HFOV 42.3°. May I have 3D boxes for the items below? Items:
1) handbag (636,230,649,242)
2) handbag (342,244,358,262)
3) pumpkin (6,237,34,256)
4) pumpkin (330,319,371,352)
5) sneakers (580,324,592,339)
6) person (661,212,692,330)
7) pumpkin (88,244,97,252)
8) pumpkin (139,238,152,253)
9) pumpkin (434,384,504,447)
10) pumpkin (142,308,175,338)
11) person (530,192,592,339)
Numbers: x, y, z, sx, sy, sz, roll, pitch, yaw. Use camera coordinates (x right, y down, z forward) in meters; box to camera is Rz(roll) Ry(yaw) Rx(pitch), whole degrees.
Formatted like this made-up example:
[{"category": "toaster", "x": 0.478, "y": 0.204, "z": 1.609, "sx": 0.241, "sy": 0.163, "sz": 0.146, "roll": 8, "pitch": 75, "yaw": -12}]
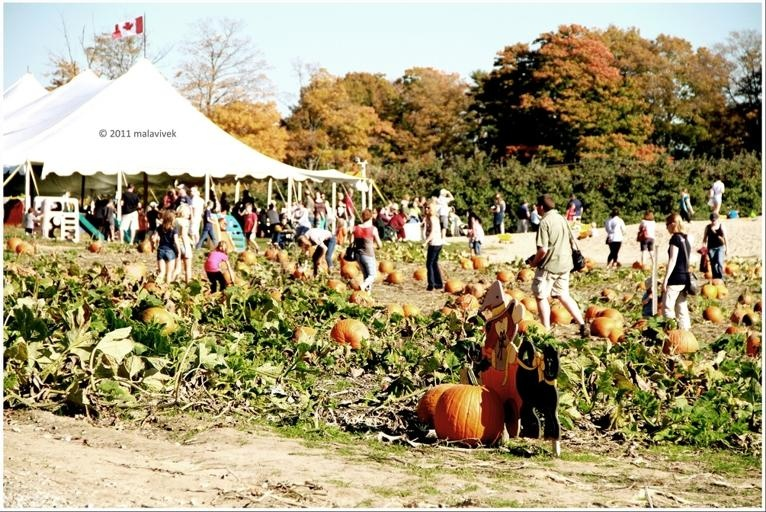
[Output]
[{"category": "handbag", "x": 6.022, "y": -0.487, "z": 23.034, "sx": 0.140, "sy": 0.292, "sz": 0.327, "roll": 2, "pitch": -5, "yaw": -17}, {"category": "handbag", "x": -0.619, "y": -0.085, "z": 18.688, "sx": 0.231, "sy": 0.339, "sz": 0.632, "roll": 1, "pitch": -5, "yaw": -5}, {"category": "pumpkin", "x": -7.923, "y": -0.188, "z": 21.585, "sx": 0.440, "sy": 0.239, "sz": 0.460, "roll": 21, "pitch": 11, "yaw": -31}, {"category": "pumpkin", "x": -0.506, "y": 1.148, "z": 14.604, "sx": 0.407, "sy": 0.440, "sz": 0.445, "roll": 23, "pitch": 24, "yaw": -47}, {"category": "sneakers", "x": 3.105, "y": 1.140, "z": 15.213, "sx": 0.129, "sy": 0.207, "sz": 0.189, "roll": 5, "pitch": 9, "yaw": -2}, {"category": "person", "x": 4.627, "y": 0.238, "z": 15.544, "sx": 0.436, "sy": 1.838, "sz": 0.849, "roll": -1, "pitch": -5, "yaw": 18}, {"category": "pumpkin", "x": -6.590, "y": -0.191, "z": 22.510, "sx": 0.181, "sy": 0.140, "sz": 0.167, "roll": 9, "pitch": 3, "yaw": 19}, {"category": "pumpkin", "x": -5.512, "y": -0.221, "z": 22.997, "sx": 0.225, "sy": 0.281, "sz": 0.321, "roll": 3, "pitch": 2, "yaw": -5}, {"category": "pumpkin", "x": 1.061, "y": 1.917, "z": 12.190, "sx": 0.674, "sy": 0.725, "sz": 0.651, "roll": 10, "pitch": 1, "yaw": -40}, {"category": "pumpkin", "x": -3.172, "y": 0.846, "z": 14.083, "sx": 0.474, "sy": 0.278, "sz": 0.399, "roll": 29, "pitch": -1, "yaw": -31}, {"category": "person", "x": 2.731, "y": 0.126, "z": 15.447, "sx": 0.784, "sy": 2.224, "sz": 0.549, "roll": 1, "pitch": -5, "yaw": -10}]
